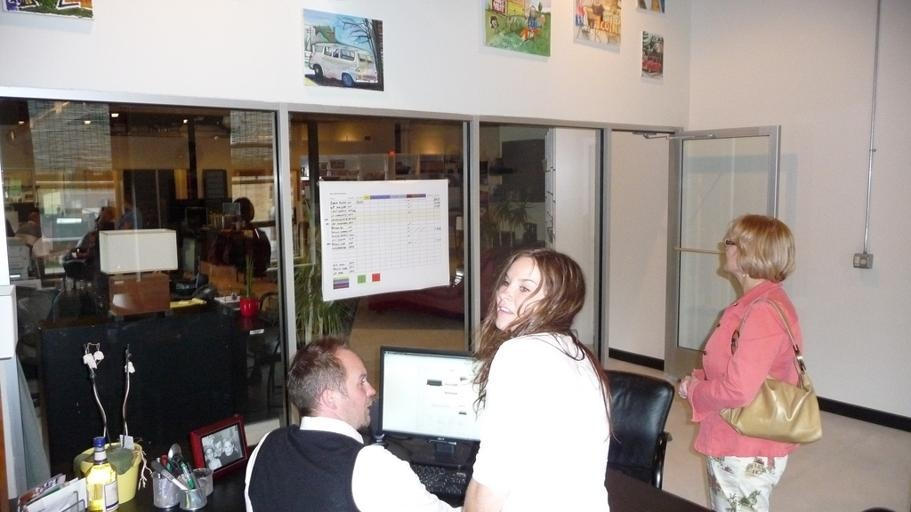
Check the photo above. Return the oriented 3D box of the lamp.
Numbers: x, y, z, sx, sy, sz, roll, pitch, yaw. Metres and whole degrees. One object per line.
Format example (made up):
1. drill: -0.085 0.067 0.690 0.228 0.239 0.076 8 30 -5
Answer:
1. lamp: -2.231 0.096 4.175 0.607 0.710 0.254 -3 10 -26

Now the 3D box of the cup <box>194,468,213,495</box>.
1. cup: -1.465 1.309 3.520 0.147 0.111 0.118 1 0 -38

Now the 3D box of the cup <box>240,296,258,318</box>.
1. cup: -1.548 0.384 4.486 0.144 0.136 0.142 -1 1 0

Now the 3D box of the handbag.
1. handbag: 2.051 0.951 3.814 0.511 0.483 0.253 2 -12 33

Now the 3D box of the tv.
1. tv: -0.123 0.962 3.788 0.887 0.793 0.367 -1 -3 7

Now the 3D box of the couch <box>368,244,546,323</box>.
1. couch: -0.076 0.216 5.324 1.258 0.691 0.684 0 0 -13
